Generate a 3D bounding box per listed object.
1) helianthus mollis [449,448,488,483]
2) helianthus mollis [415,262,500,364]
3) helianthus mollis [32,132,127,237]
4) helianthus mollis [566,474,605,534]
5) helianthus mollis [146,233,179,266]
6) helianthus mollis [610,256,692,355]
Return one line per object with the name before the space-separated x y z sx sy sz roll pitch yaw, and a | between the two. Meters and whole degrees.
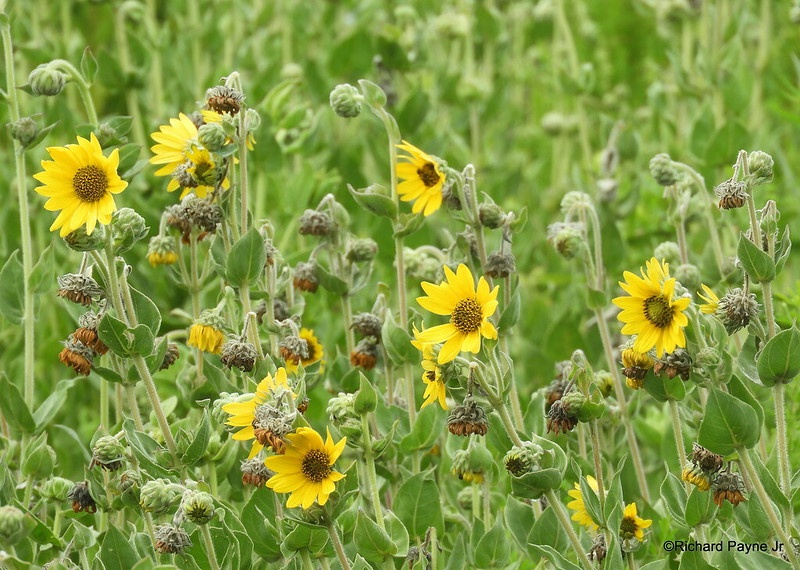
helianthus mollis | 0.137 0.354 2.412 0.057 0.062 0.063 -22 82 16
helianthus mollis | 0.116 0.064 2.240 0.138 0.063 0.189 10 67 -23
helianthus mollis | -0.589 -0.218 2.276 0.176 0.221 0.094 -18 73 12
helianthus mollis | 0.368 0.440 2.447 0.038 0.104 0.097 -2 40 -26
helianthus mollis | -0.504 -0.055 2.593 0.054 0.063 0.087 4 63 -7
helianthus mollis | 0.497 0.042 2.241 0.059 0.135 0.150 -31 37 17
